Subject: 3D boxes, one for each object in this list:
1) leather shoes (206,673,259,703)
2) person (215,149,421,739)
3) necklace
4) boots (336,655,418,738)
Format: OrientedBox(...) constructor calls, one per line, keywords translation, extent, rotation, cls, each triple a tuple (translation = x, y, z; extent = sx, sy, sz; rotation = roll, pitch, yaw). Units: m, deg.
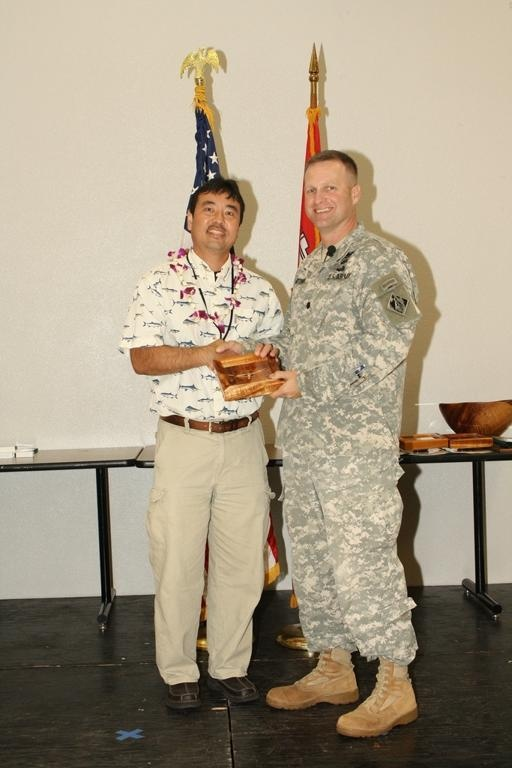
OrientedBox(translation=(-0.069, 0.992, 2.581), extent=(0.069, 0.061, 0.158), rotation=(0, -2, -40), cls="leather shoes")
OrientedBox(translation=(0.268, 0.158, 2.446), extent=(0.356, 1.765, 0.486), rotation=(-5, 6, -29), cls="person")
OrientedBox(translation=(-0.172, -0.290, 2.649), extent=(0.105, 0.286, 0.297), rotation=(-7, 23, 8), cls="necklace")
OrientedBox(translation=(0.365, 0.967, 2.465), extent=(0.349, 0.233, 0.129), rotation=(-1, -5, -34), cls="boots")
